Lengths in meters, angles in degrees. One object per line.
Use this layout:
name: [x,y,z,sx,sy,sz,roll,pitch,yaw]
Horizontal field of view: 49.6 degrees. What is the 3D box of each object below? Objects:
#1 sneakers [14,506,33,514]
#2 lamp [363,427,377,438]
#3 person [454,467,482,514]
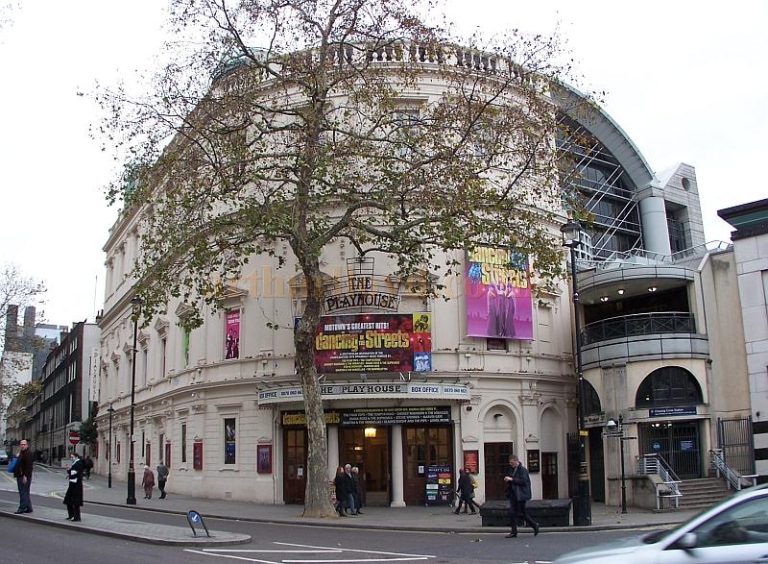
sneakers: [-12.304,7.789,28.243,0.181,0.235,0.507,-15,-28,39]
lamp: [-0.687,7.629,41.681,0.615,0.406,1.778,-3,-16,2]
person: [3.537,9.112,36.078,0.915,1.842,1.508,-3,-15,6]
